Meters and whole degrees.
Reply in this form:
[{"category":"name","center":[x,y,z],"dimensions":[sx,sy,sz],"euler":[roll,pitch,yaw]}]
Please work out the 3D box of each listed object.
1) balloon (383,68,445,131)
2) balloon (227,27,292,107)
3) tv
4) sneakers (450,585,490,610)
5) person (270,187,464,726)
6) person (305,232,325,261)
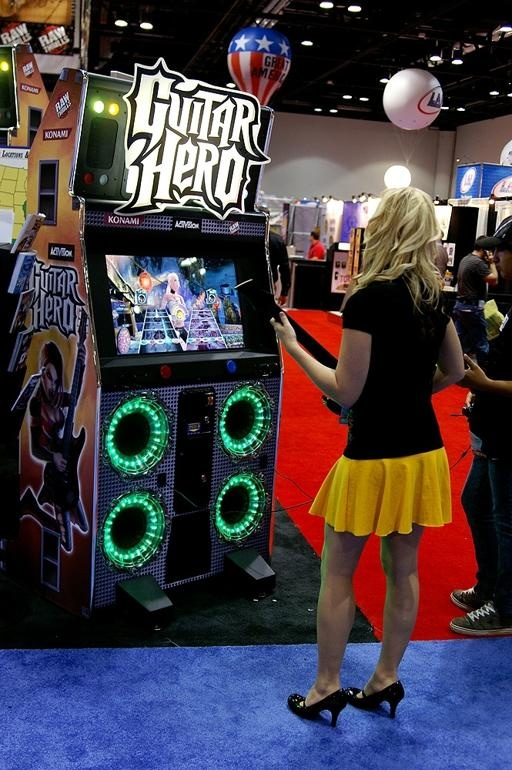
[{"category":"balloon","center":[2.112,-3.959,7.543],"dimensions":[0.738,0.795,0.630],"euler":[3,-3,11]},{"category":"balloon","center":[0.016,-3.833,7.019],"dimensions":[0.777,1.155,0.773],"euler":[-20,31,-40]},{"category":"tv","center":[-0.293,-0.276,1.918],"dimensions":[0.006,0.234,0.388],"euler":[-5,0,44]},{"category":"sneakers","center":[0.813,0.803,2.116],"dimensions":[0.054,0.072,0.157],"euler":[-9,10,-25]},{"category":"person","center":[0.256,0.183,1.270],"dimensions":[0.319,1.194,0.471],"euler":[0,-5,44]},{"category":"person","center":[1.504,-3.510,14.072],"dimensions":[0.499,0.921,0.760],"euler":[5,14,17]}]
